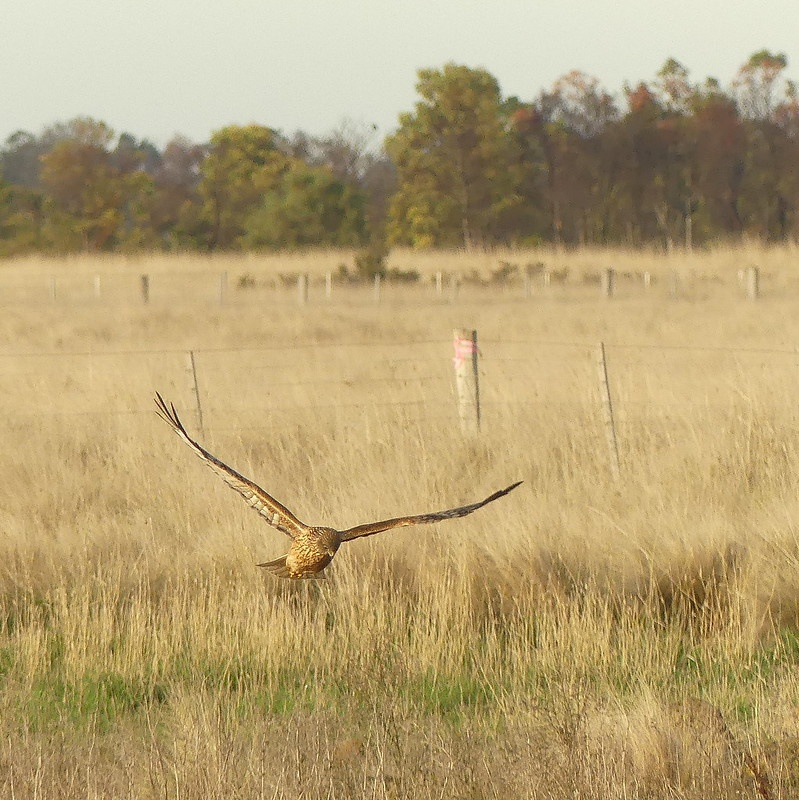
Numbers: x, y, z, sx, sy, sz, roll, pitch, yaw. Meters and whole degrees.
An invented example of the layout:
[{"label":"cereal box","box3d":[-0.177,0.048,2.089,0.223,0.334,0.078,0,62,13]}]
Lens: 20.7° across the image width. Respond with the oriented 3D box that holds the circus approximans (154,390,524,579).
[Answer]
[{"label":"circus approximans","box3d":[-0.840,1.180,21.770,3.444,1.505,1.392,14,-4,-18]}]
